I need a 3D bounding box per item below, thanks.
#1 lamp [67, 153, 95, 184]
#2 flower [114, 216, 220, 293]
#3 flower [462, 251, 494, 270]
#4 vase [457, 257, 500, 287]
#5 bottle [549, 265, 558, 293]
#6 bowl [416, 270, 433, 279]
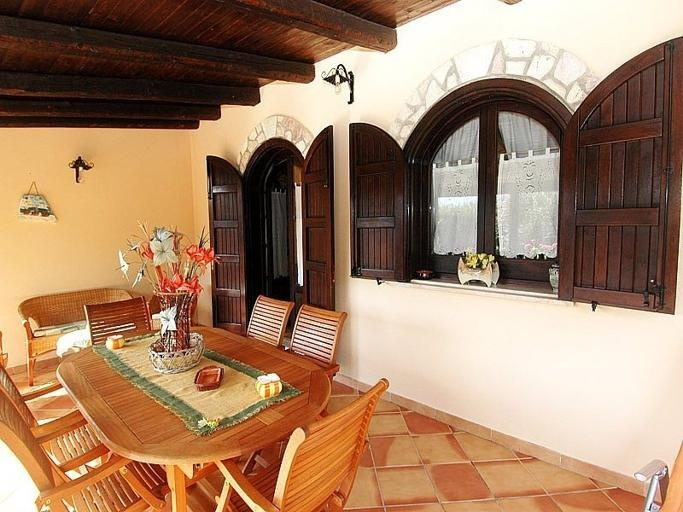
[{"bbox_3d":[-3.235,-1.097,5.665,0.346,0.420,0.281,2,8,2],"label":"lamp"},{"bbox_3d":[-1.897,-0.012,4.737,0.960,0.905,0.908,-7,6,-31],"label":"flower"},{"bbox_3d":[1.170,0.042,3.846,0.180,0.105,0.174,1,1,33],"label":"flower"},{"bbox_3d":[1.142,0.160,3.799,0.248,0.222,0.261,2,9,24],"label":"vase"},{"bbox_3d":[1.619,0.175,3.435,0.063,0.231,0.390,1,6,25],"label":"bottle"},{"bbox_3d":[0.769,0.175,4.153,0.141,0.076,0.120,-1,5,9],"label":"bowl"}]
